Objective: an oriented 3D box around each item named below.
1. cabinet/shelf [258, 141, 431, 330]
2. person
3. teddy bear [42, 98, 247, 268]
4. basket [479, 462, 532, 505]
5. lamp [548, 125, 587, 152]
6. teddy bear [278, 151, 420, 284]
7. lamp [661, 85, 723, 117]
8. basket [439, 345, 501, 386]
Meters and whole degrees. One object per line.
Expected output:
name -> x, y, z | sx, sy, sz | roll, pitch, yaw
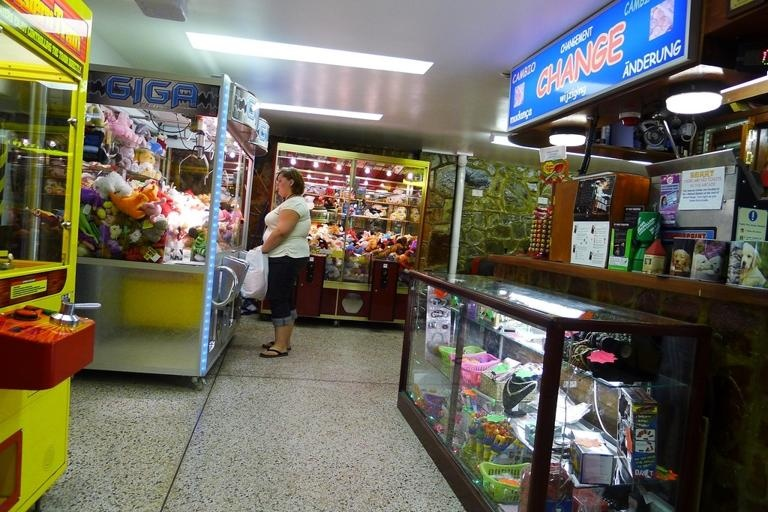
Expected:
cabinet/shelf -> -0.493, -0.202, 6.562 | 2.700, 2.904, 1.036 | 4, -3, -9
person -> -1.014, 0.081, 5.200 | 0.469, 1.877, 0.505 | 4, 12, -10
teddy bear -> -1.991, -0.605, 4.630 | 1.114, 1.276, 1.948 | 3, 2, -6
basket -> 0.664, 1.275, 2.948 | 0.210, 0.111, 0.273 | 1, -5, -2
lamp -> 1.462, -0.962, 4.166 | 0.246, 0.076, 0.244 | 1, 0, -44
teddy bear -> -0.501, -0.498, 6.709 | 1.922, 1.554, 0.647 | 2, 1, -13
lamp -> 1.901, -0.952, 3.177 | 0.315, 0.110, 0.266 | 0, 13, -26
basket -> 0.578, 0.717, 3.397 | 0.346, 0.173, 0.493 | 1, -4, -4
